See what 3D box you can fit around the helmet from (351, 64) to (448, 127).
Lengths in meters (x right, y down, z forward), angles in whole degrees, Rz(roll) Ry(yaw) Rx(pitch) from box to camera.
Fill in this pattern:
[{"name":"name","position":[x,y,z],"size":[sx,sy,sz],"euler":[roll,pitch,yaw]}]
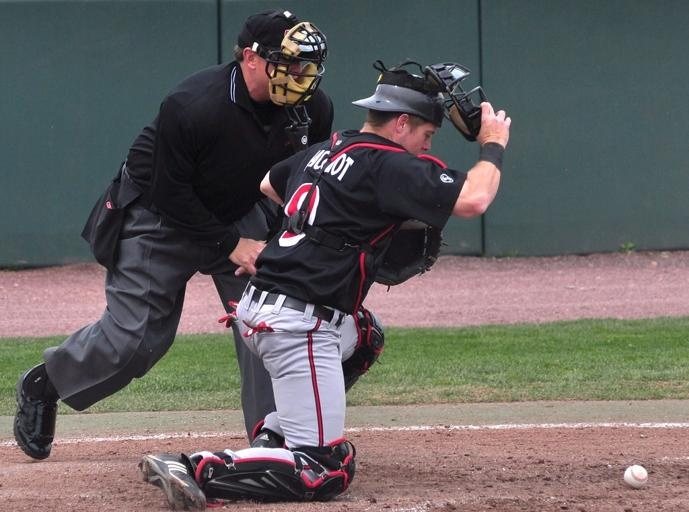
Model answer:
[{"name":"helmet","position":[0.543,-1.282,10.311],"size":[0.697,0.407,0.488],"euler":[8,8,-21]}]

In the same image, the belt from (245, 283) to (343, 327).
[{"name":"belt","position":[-0.378,0.408,10.082],"size":[0.505,0.116,0.382],"euler":[16,5,-15]}]

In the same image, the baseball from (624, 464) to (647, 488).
[{"name":"baseball","position":[2.394,1.801,10.392],"size":[0.201,0.160,0.216],"euler":[2,13,12]}]

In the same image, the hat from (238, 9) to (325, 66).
[{"name":"hat","position":[-0.550,-1.842,10.565],"size":[0.460,0.319,0.614],"euler":[-2,20,-31]}]
